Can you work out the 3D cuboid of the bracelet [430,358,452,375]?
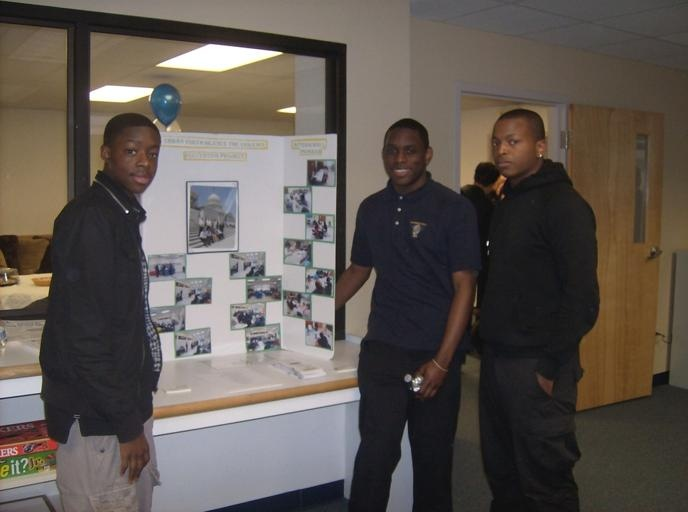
[{"bbox_3d":[0.396,0.448,2.282,0.065,0.017,0.050,20,-10,15],"label":"bracelet"}]

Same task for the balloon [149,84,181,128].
[{"bbox_3d":[-0.925,-0.771,2.886,0.159,0.233,0.153,-5,13,-32],"label":"balloon"}]
